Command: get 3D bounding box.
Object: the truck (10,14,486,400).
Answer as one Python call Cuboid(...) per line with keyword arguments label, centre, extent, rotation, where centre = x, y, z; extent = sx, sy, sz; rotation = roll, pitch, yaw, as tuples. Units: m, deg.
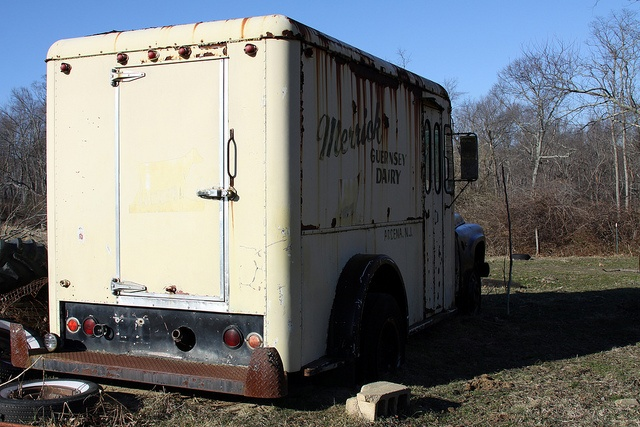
Cuboid(label="truck", centre=(-0.257, -0.200, 8.788), extent=(3.316, 3.533, 5.835), rotation=(1, 3, 34))
